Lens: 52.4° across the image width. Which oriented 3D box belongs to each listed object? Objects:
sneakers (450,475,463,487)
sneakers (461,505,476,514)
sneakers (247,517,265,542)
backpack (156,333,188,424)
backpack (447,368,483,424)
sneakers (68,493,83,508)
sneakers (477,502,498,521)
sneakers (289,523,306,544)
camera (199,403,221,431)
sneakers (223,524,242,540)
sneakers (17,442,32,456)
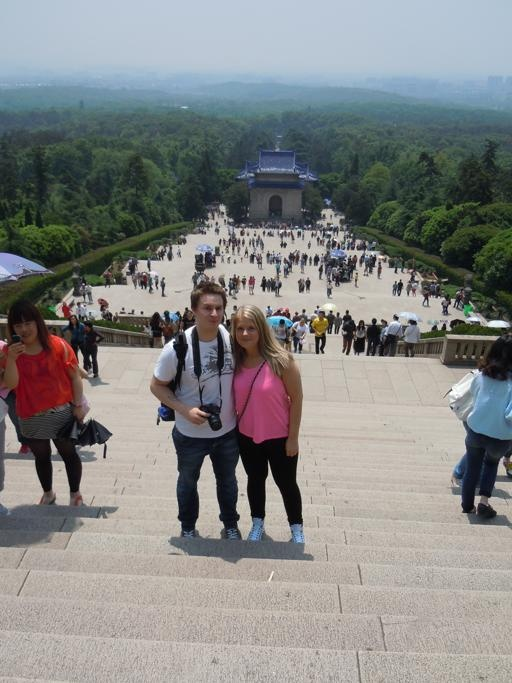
[{"bbox_3d":[1.726,1.200,4.486,0.067,0.088,0.176,2,2,15],"label":"sneakers"},{"bbox_3d":[1.570,1.234,3.845,0.042,0.051,0.125,14,3,39],"label":"sneakers"},{"bbox_3d":[-0.002,1.166,3.220,0.096,0.125,0.190,2,2,5],"label":"sneakers"},{"bbox_3d":[-0.501,0.214,3.073,0.129,0.545,0.260,1,3,-19],"label":"backpack"},{"bbox_3d":[1.657,0.453,4.158,0.213,0.465,0.593,3,3,21],"label":"backpack"},{"bbox_3d":[-1.299,1.144,3.741,0.063,0.079,0.201,-12,-23,-9],"label":"sneakers"},{"bbox_3d":[1.642,1.218,3.706,0.187,0.079,0.065,5,4,-43],"label":"sneakers"},{"bbox_3d":[0.253,1.148,3.097,0.051,0.063,0.153,-3,-6,-4],"label":"sneakers"},{"bbox_3d":[-0.254,0.413,2.873,0.131,0.138,0.090,-8,-28,-11],"label":"camera"},{"bbox_3d":[-0.146,1.164,3.178,0.067,0.082,0.199,-1,-13,-8],"label":"sneakers"},{"bbox_3d":[-2.328,1.068,5.212,0.118,0.157,0.305,1,3,-24],"label":"sneakers"}]
